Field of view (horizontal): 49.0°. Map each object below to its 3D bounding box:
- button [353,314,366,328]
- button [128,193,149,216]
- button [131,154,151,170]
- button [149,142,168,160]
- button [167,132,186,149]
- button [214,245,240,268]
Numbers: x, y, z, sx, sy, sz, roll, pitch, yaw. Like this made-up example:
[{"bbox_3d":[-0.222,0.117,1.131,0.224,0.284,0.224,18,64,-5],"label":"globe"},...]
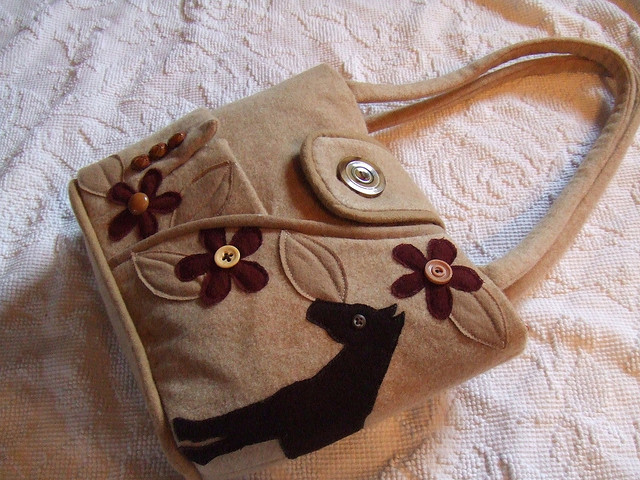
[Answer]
[{"bbox_3d":[0.089,0.189,1.619,0.029,0.005,0.030,-4,78,0],"label":"button"},{"bbox_3d":[-0.444,-0.086,1.711,0.045,0.027,0.052,2,81,-3],"label":"button"},{"bbox_3d":[-0.451,-0.193,1.761,0.043,0.024,0.034,-40,79,-6],"label":"button"},{"bbox_3d":[-0.407,-0.223,1.768,0.034,0.025,0.045,44,96,13],"label":"button"},{"bbox_3d":[-0.365,-0.251,1.773,0.052,0.018,0.027,-42,60,-12],"label":"button"},{"bbox_3d":[-0.219,0.040,1.647,0.058,0.008,0.052,-15,78,-2],"label":"button"}]
